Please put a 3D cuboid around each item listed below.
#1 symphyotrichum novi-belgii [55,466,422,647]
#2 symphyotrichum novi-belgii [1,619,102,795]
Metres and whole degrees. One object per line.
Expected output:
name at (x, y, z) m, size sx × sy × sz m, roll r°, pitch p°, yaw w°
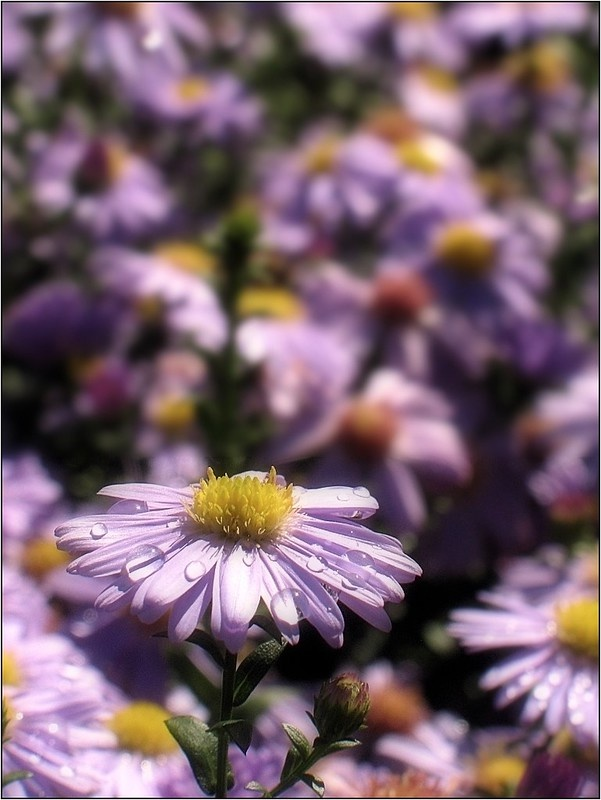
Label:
symphyotrichum novi-belgii at (-0.034, 0.040, 0.436) m, size 0.137 × 0.042 × 0.135 m, roll 18°, pitch 32°, yaw 37°
symphyotrichum novi-belgii at (-0.183, 0.213, 0.615) m, size 0.082 × 0.019 × 0.104 m, roll 38°, pitch 21°, yaw -39°
